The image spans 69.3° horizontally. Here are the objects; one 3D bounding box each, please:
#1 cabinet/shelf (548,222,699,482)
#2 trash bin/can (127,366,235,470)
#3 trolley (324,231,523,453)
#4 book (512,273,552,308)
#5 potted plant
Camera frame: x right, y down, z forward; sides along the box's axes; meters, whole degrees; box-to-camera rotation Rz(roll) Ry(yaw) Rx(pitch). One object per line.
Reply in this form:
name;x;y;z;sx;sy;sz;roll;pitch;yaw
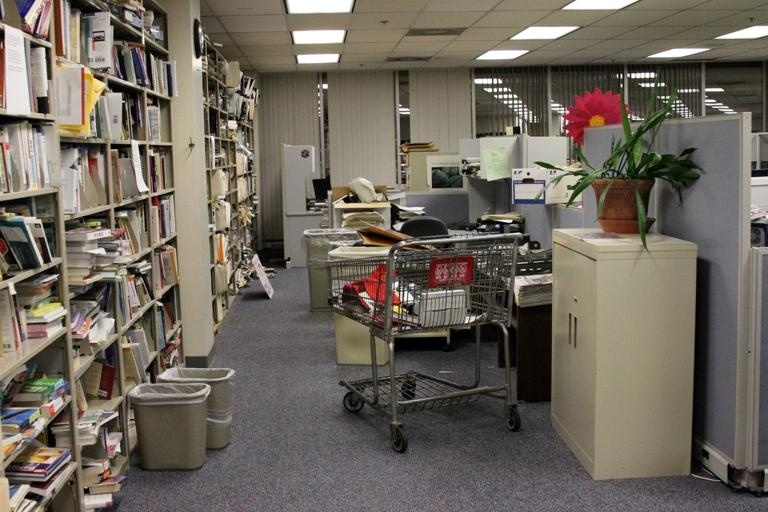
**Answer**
cabinet/shelf;1.418;0.562;3.271;0.810;1.337;0.607;2;12;18
trash bin/can;-1.241;1.000;3.528;0.599;0.439;0.521;1;3;-5
trolley;0.156;0.504;3.947;0.956;1.304;1.498;0;-3;-34
book;1.101;0.226;4.090;0.254;0.086;0.257;-1;10;-5
potted plant;1.465;-0.571;3.568;1.083;0.964;1.004;-5;12;-4
